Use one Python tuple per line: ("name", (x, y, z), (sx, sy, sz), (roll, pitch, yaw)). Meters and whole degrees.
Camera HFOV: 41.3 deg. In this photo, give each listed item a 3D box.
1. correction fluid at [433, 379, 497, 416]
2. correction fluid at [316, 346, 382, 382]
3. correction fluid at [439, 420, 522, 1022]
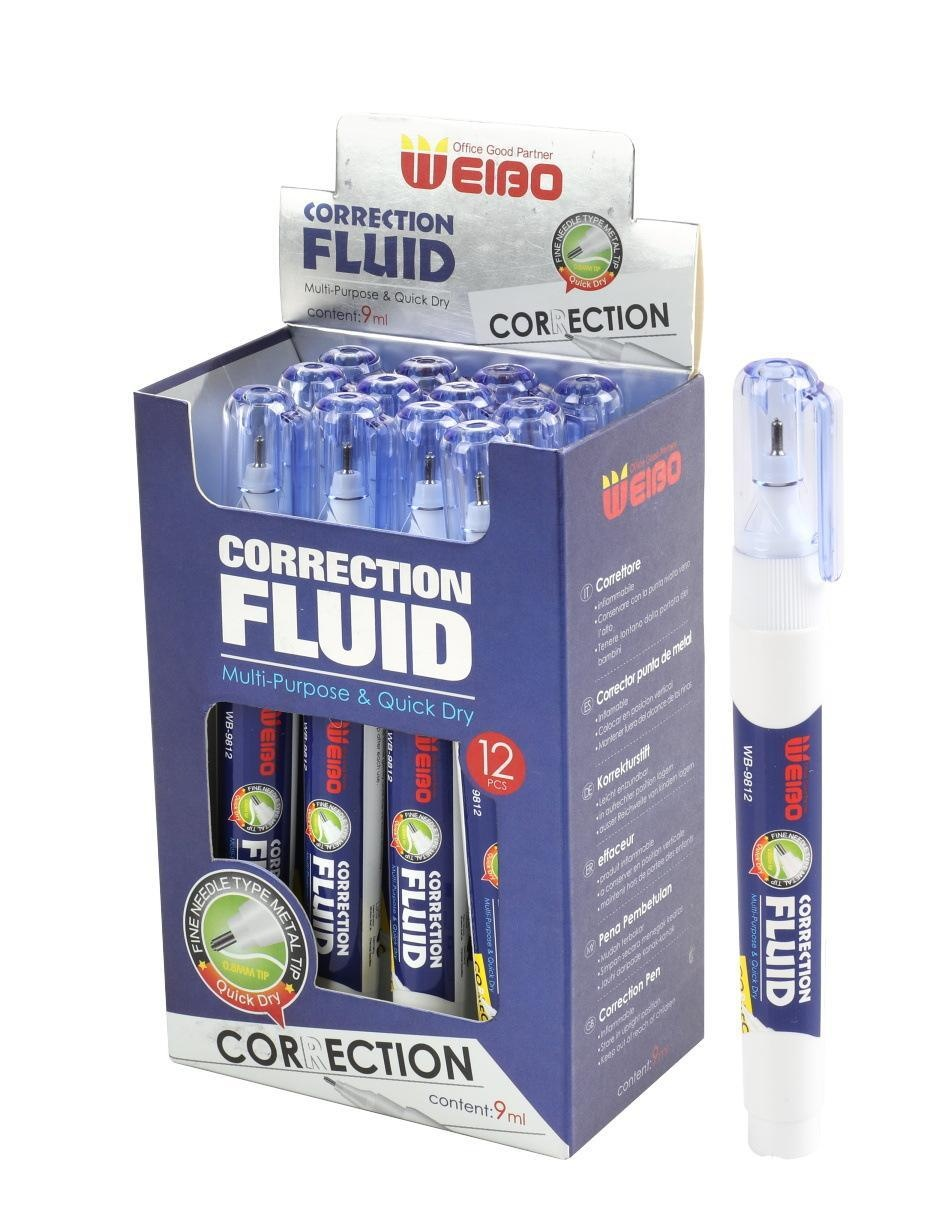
("correction fluid", (0.002, -0.200, 1.183), (0.037, 0.030, 0.051), (-1, 8, -1))
("correction fluid", (-0.127, -0.270, 1.327), (0.048, 0.026, 0.050), (0, 22, -1))
("correction fluid", (0.003, 0.112, 1.122), (0.067, 0.536, 0.064), (-10, 17, -40))
